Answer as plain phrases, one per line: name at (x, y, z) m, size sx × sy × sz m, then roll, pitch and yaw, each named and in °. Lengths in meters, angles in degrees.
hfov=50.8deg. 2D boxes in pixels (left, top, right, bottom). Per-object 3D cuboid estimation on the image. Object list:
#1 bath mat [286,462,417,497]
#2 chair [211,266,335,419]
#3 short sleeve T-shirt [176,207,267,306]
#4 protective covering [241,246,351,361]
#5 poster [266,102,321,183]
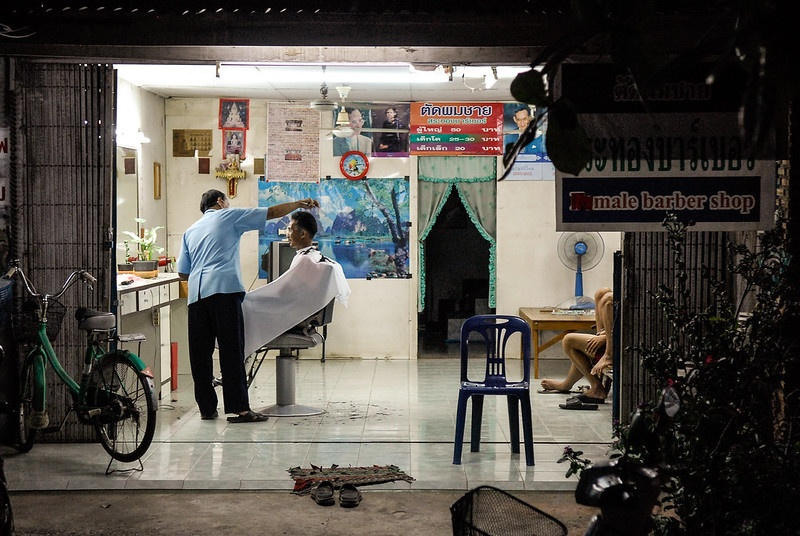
bath mat at (-0.317, 1.319, 5.317) m, size 0.758 × 0.069 × 0.446 m, roll 1°, pitch 2°, yaw -12°
chair at (-1.044, 0.545, 7.425) m, size 1.063 × 1.373 × 1.044 m, roll 2°, pitch -4°, yaw -2°
short sleeve T-shirt at (-1.376, -0.070, 6.755) m, size 0.812 × 0.802 × 0.505 m, roll -13°, pitch -18°, yaw 22°
protective covering at (-0.811, 0.255, 6.982) m, size 0.886 × 0.501 × 0.730 m, roll -22°, pitch -2°, yaw -1°
poster at (-1.158, -1.401, 9.066) m, size 0.879 × 1.105 × 0.093 m, roll 0°, pitch 4°, yaw 0°
